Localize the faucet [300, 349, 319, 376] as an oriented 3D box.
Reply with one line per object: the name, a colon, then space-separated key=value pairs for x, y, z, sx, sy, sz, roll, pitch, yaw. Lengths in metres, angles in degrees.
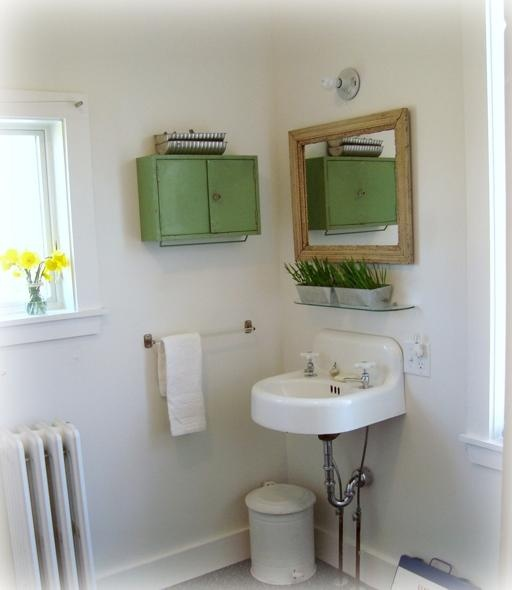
faucet: x=0.223 y=0.269 z=2.252 sx=0.084 sy=0.113 sz=0.089 roll=-4 pitch=13 yaw=-9

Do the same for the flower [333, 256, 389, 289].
flower: x=0.386 y=-0.096 z=2.017 sx=0.140 sy=0.086 sz=0.116 roll=-2 pitch=5 yaw=-6

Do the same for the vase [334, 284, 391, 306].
vase: x=0.382 y=0.007 z=1.993 sx=0.089 sy=0.049 sz=0.136 roll=-3 pitch=3 yaw=-41

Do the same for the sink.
sink: x=0.264 y=0.325 z=2.086 sx=0.541 sy=0.313 sz=0.567 roll=-2 pitch=-1 yaw=-8

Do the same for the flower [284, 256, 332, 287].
flower: x=0.241 y=-0.087 z=2.207 sx=0.149 sy=0.090 sz=0.120 roll=-2 pitch=1 yaw=37

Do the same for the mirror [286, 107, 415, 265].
mirror: x=0.363 y=-0.408 z=2.037 sx=0.041 sy=0.638 sz=0.618 roll=-4 pitch=3 yaw=-40

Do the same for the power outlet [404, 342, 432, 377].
power outlet: x=0.562 y=0.221 z=1.898 sx=0.015 sy=0.127 sz=0.103 roll=-8 pitch=11 yaw=-33

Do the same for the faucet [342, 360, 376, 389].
faucet: x=0.366 y=0.281 z=2.037 sx=0.066 sy=0.128 sz=0.124 roll=-5 pitch=16 yaw=-16

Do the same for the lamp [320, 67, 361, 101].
lamp: x=0.330 y=-0.780 z=2.072 sx=0.163 sy=0.121 sz=0.065 roll=0 pitch=9 yaw=35

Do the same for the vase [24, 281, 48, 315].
vase: x=-0.790 y=0.012 z=1.981 sx=0.061 sy=0.112 sz=0.116 roll=-5 pitch=7 yaw=-4

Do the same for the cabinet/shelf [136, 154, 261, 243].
cabinet/shelf: x=-0.211 y=-0.376 z=2.142 sx=0.484 sy=0.321 sz=0.144 roll=-9 pitch=9 yaw=-27

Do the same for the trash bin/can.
trash bin/can: x=0.082 y=0.979 z=2.344 sx=0.297 sy=0.334 sz=0.325 roll=-3 pitch=13 yaw=-6
